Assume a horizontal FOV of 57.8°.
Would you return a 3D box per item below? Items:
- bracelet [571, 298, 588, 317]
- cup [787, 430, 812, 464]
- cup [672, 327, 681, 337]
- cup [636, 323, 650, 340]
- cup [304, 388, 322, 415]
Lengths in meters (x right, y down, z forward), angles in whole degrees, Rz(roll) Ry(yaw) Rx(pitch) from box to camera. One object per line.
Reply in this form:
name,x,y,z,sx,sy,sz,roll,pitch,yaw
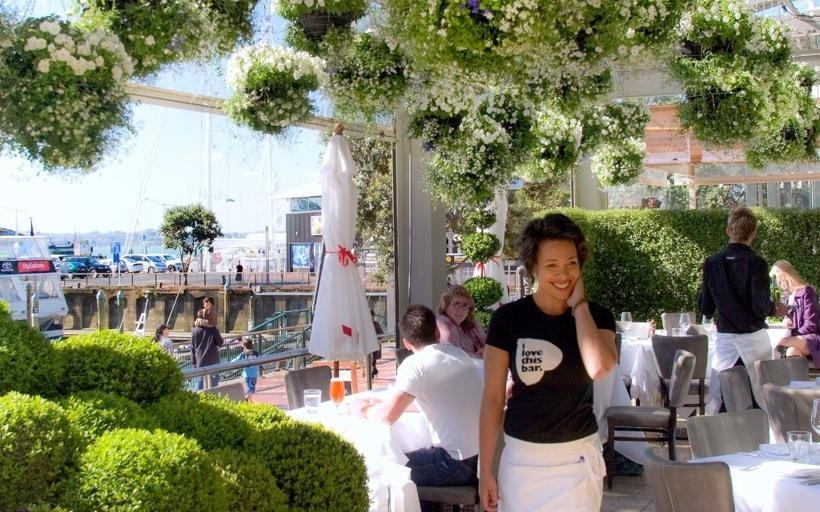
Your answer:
bracelet,0.899,0.272,3.915,0.075,0.025,0.070,-47,-11,-3
cup,2.344,1.147,4.442,0.141,0.183,0.155,0,-2,-2
cup,3.021,0.874,8.435,0.097,0.103,0.102,-1,2,0
cup,2.762,0.896,8.799,0.147,0.174,0.233,-1,-2,21
cup,-0.676,1.033,5.190,0.144,0.175,0.151,0,-4,0
